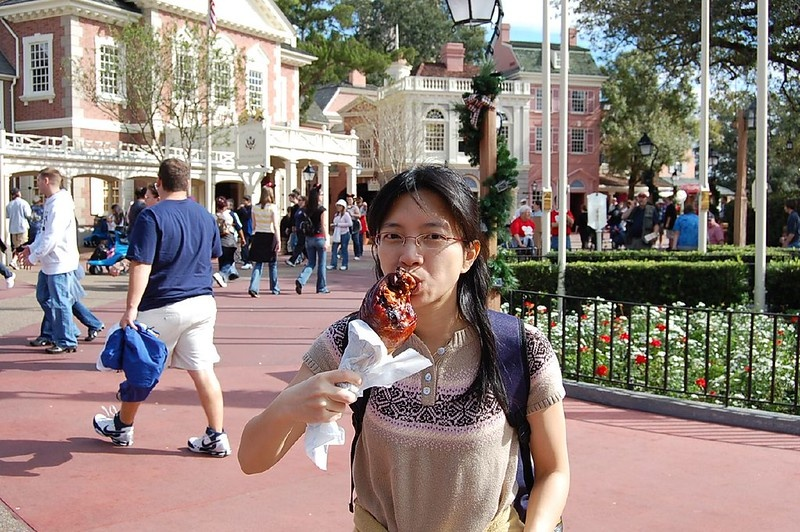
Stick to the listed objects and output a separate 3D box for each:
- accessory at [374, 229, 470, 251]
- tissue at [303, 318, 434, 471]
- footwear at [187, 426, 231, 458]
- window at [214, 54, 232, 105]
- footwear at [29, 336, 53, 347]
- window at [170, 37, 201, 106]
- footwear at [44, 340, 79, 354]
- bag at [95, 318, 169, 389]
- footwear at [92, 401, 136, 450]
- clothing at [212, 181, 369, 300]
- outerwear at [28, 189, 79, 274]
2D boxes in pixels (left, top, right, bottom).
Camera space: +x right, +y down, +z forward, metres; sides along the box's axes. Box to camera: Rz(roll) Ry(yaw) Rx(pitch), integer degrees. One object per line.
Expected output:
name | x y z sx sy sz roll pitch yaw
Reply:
accessory | 0.100 -0.139 4.054 0.445 0.090 0.071 1 5 4
tissue | -0.209 0.544 3.777 0.435 0.170 0.536 -23 16 47
footwear | -1.884 1.750 7.337 0.493 0.278 0.213 6 -4 18
window | -6.706 -6.931 28.090 0.710 1.953 0.156 -2 -3 3
footwear | -5.405 1.127 11.103 0.251 0.109 0.151 5 -3 4
window | -7.894 -7.253 27.369 0.989 2.847 2.990 -1 5 -17
footwear | -4.892 1.188 10.725 0.485 0.231 0.184 7 -3 -27
bag | -2.506 0.840 7.013 0.528 0.663 0.314 -1 12 9
footwear | -2.948 1.613 7.598 0.590 0.312 0.213 18 18 32
clothing | -2.562 -0.364 17.156 2.618 3.721 2.162 2 15 7
outerwear | -4.815 -0.467 10.236 0.617 1.183 0.500 -2 5 -26
